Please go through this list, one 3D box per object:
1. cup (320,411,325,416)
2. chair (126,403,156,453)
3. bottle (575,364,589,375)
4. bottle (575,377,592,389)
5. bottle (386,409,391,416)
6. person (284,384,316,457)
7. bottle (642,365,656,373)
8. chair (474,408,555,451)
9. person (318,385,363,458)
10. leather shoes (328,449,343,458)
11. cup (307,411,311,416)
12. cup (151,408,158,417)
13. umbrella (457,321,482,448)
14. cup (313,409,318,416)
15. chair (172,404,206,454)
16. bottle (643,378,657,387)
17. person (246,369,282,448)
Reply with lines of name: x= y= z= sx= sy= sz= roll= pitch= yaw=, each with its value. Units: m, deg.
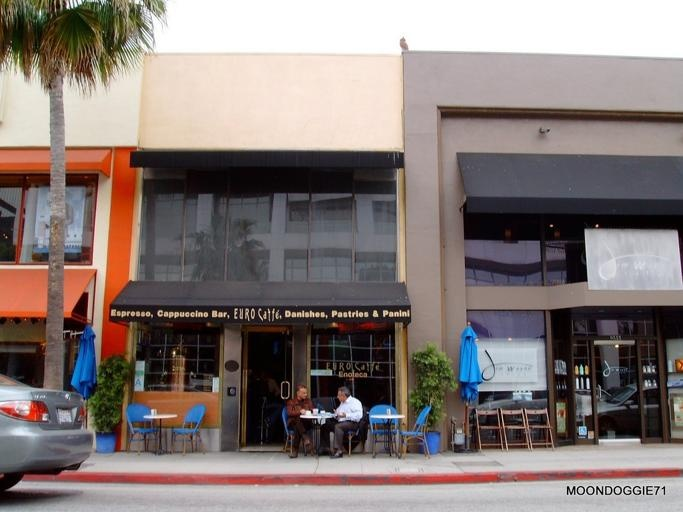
cup: x=-0.476 y=3.937 z=16.422 sx=0.111 sy=0.181 sz=0.118 roll=1 pitch=-4 yaw=0
chair: x=-5.076 y=4.438 z=16.781 sx=0.720 sy=1.128 sz=0.737 roll=-6 pitch=-12 yaw=9
bottle: x=6.666 y=3.168 z=18.286 sx=0.418 sy=0.293 sz=0.034 roll=0 pitch=-11 yaw=-3
bottle: x=6.684 y=3.541 z=18.257 sx=0.270 sy=0.306 sz=0.019 roll=1 pitch=-4 yaw=4
bottle: x=1.205 y=4.014 z=16.868 sx=0.099 sy=0.184 sz=0.109 roll=1 pitch=-9 yaw=2
person: x=-1.038 y=4.168 z=16.612 sx=0.637 sy=1.740 sz=1.448 roll=0 pitch=-12 yaw=-3
bottle: x=8.567 y=3.209 z=18.383 sx=0.220 sy=0.339 sz=0.112 roll=5 pitch=0 yaw=8
chair: x=4.577 y=4.596 z=17.519 sx=2.069 sy=1.067 sz=0.582 roll=2 pitch=-12 yaw=-11
person: x=-0.022 y=4.212 z=16.681 sx=0.903 sy=1.677 sz=1.102 roll=6 pitch=-14 yaw=-28
leather shoes: x=-0.135 y=4.859 z=16.092 sx=0.359 sy=0.157 sz=0.141 roll=2 pitch=-18 yaw=9
cup: x=-0.793 y=3.871 z=16.133 sx=0.106 sy=0.116 sz=0.060 roll=1 pitch=-19 yaw=-11
cup: x=-4.790 y=4.017 z=16.876 sx=0.124 sy=0.184 sz=0.245 roll=1 pitch=-8 yaw=-1
umbrella: x=3.367 y=3.366 z=17.327 sx=0.590 sy=3.366 sz=0.807 roll=-3 pitch=-12 yaw=11
cup: x=-0.645 y=3.915 z=16.450 sx=0.127 sy=0.142 sz=0.098 roll=-1 pitch=-12 yaw=0
chair: x=-3.930 y=4.502 z=17.027 sx=0.823 sy=1.170 sz=0.746 roll=4 pitch=-9 yaw=-39
bottle: x=8.591 y=3.549 z=18.358 sx=0.208 sy=0.145 sz=0.223 roll=0 pitch=-8 yaw=0
person: x=-2.114 y=4.227 z=18.285 sx=0.988 sy=1.897 sz=0.494 roll=1 pitch=-12 yaw=-6
